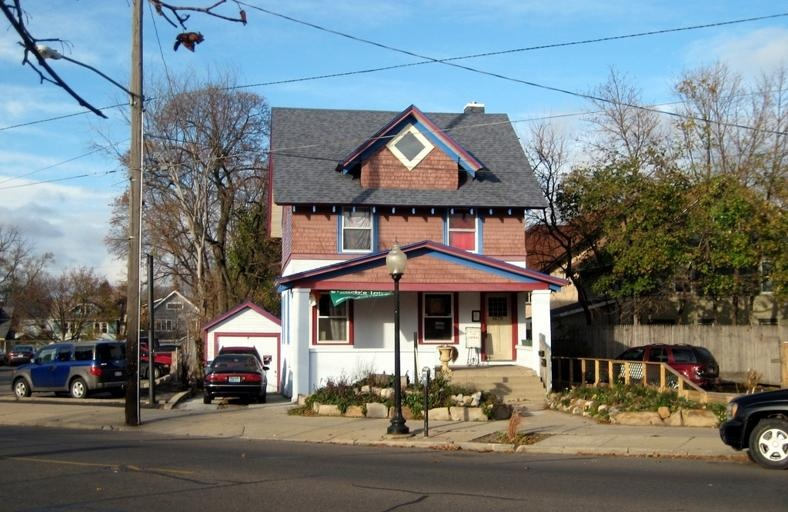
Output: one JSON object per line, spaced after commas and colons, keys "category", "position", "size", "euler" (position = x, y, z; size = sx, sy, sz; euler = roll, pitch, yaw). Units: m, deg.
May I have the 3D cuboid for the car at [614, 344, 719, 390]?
{"category": "car", "position": [11.447, 4.970, 40.997], "size": [4.190, 1.912, 2.236], "euler": [3, -3, 30]}

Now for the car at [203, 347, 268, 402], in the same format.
{"category": "car", "position": [-6.570, 5.026, 40.182], "size": [2.135, 1.693, 4.912], "euler": [1, -2, -4]}
